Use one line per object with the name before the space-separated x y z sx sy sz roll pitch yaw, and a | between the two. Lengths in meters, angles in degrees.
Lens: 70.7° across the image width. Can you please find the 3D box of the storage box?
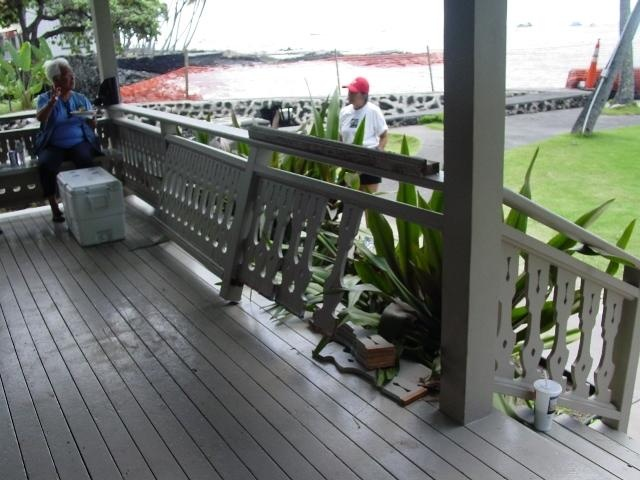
storage box | -2.129 -0.259 4.304 0.423 0.540 0.725 -11 13 -34

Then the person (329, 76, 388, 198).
person | 0.560 -1.057 5.589 0.583 1.876 0.555 6 33 15

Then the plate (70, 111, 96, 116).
plate | -2.440 -1.305 4.653 0.212 0.062 0.124 -5 25 -15

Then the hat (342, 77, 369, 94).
hat | 0.407 -1.707 5.032 0.223 0.136 0.167 4 33 -26

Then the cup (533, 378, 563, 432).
cup | 1.079 0.782 2.179 0.121 0.222 0.170 15 27 29
